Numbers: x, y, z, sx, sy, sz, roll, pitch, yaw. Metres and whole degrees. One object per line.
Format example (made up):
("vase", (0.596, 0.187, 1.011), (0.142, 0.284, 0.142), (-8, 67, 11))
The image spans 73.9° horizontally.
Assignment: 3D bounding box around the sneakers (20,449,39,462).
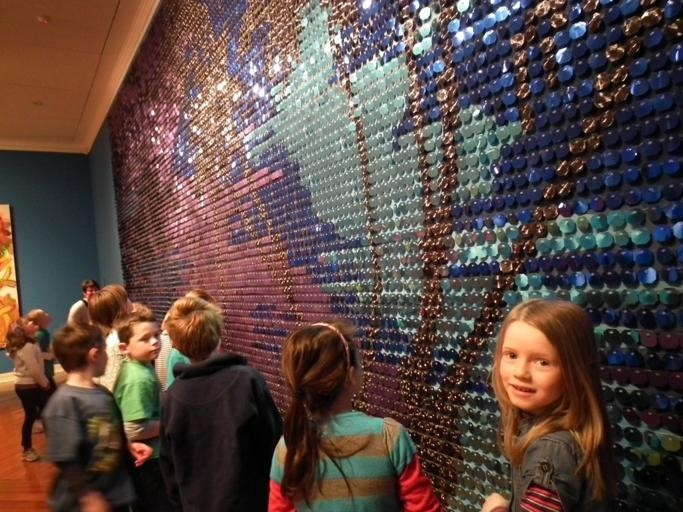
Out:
("sneakers", (-2.713, 1.732, 3.937), (0.138, 0.069, 0.073), (3, 1, 28))
